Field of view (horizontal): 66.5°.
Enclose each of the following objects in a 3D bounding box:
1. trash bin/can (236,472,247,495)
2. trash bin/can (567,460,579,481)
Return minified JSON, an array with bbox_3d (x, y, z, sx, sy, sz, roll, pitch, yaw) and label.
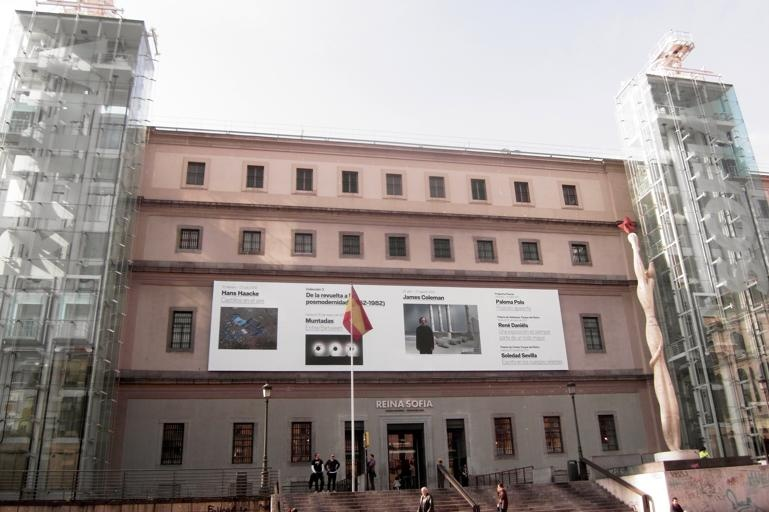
[{"bbox_3d":[-7.574,11.909,30.977,0.702,1.102,0.565,3,-21,-10],"label":"trash bin/can"},{"bbox_3d":[9.804,10.997,30.258,0.711,0.904,0.405,8,-23,-23],"label":"trash bin/can"}]
